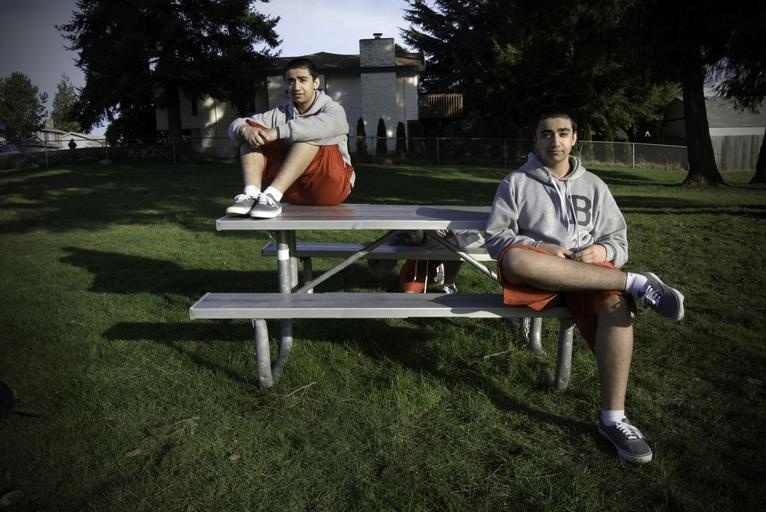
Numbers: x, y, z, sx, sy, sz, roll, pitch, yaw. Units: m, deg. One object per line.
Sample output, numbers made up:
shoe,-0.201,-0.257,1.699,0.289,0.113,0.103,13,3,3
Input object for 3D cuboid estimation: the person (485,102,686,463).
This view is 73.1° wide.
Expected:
person,1.390,0.066,3.652,1.305,2.128,1.027,7,13,32

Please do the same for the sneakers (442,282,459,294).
sneakers,0.679,0.317,5.217,0.103,0.136,0.296,-2,-5,12

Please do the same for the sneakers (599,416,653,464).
sneakers,1.516,1.156,3.268,0.135,0.138,0.339,-17,6,-16

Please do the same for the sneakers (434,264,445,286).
sneakers,0.615,0.198,5.561,0.135,0.191,0.202,-1,16,-5

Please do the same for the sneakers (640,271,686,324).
sneakers,1.789,0.240,3.429,0.170,0.159,0.434,-2,30,-26

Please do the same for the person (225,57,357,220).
person,-0.880,-1.073,4.536,0.790,1.299,1.310,7,13,31
